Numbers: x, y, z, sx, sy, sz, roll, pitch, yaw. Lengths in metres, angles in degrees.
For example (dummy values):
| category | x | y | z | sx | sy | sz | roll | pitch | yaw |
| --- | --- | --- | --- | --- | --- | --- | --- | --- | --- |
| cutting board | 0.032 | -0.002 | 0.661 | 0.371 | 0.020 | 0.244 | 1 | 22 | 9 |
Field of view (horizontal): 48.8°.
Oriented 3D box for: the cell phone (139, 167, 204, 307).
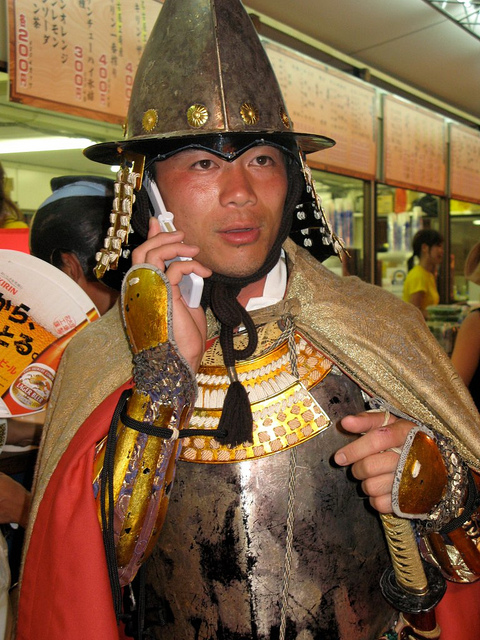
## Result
| category | x | y | z | sx | sy | sz | roll | pitch | yaw |
| --- | --- | --- | --- | --- | --- | --- | --- | --- | --- |
| cell phone | -0.118 | -0.145 | 0.935 | 0.050 | 0.269 | 0.081 | -22 | -19 | -2 |

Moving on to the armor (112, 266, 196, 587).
| category | x | y | z | sx | sy | sz | roll | pitch | yaw |
| --- | --- | --- | --- | --- | --- | --- | --- | --- | --- |
| armor | -0.145 | 0.210 | 0.909 | 0.130 | 0.604 | 0.134 | 1 | 7 | -7 |

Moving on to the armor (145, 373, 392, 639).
| category | x | y | z | sx | sy | sz | roll | pitch | yaw |
| --- | --- | --- | --- | --- | --- | --- | --- | --- | --- |
| armor | 0.056 | 0.302 | 1.117 | 0.602 | 0.672 | 0.402 | -1 | -8 | 1 |
